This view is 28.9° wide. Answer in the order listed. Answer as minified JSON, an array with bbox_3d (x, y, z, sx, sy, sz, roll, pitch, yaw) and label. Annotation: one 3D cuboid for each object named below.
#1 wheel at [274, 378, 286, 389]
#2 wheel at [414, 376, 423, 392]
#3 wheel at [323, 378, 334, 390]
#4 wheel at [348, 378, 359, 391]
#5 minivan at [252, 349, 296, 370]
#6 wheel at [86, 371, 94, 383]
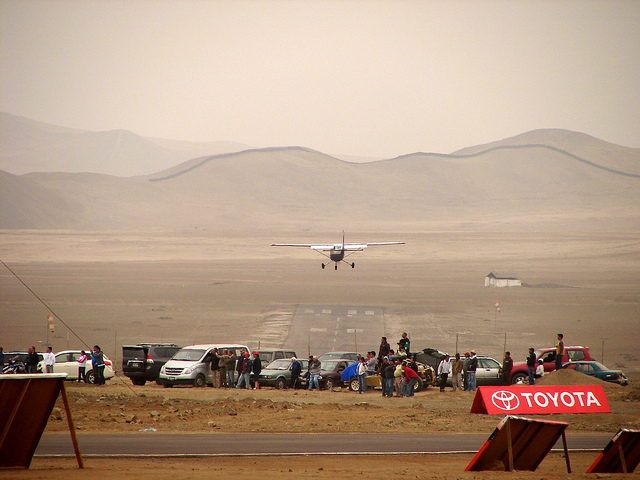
[{"bbox_3d":[-7.192,25.071,216.384,2.264,1.861,0.687,1,-1,-1],"label":"wheel"},{"bbox_3d":[16.957,25.155,216.055,0.869,2.560,1.776,6,12,34],"label":"wheel"},{"bbox_3d":[1.308,25.194,216.656,2.385,1.980,0.727,-3,3,-25],"label":"wheel"},{"bbox_3d":[5.746,25.131,216.056,2.706,2.234,0.872,1,-6,5],"label":"wheel"},{"bbox_3d":[-7.563,21.018,220.879,3.631,2.587,6.133,-5,-7,34],"label":"minivan"},{"bbox_3d":[-39.981,23.933,216.658,1.634,1.876,0.901,8,13,40],"label":"wheel"}]
